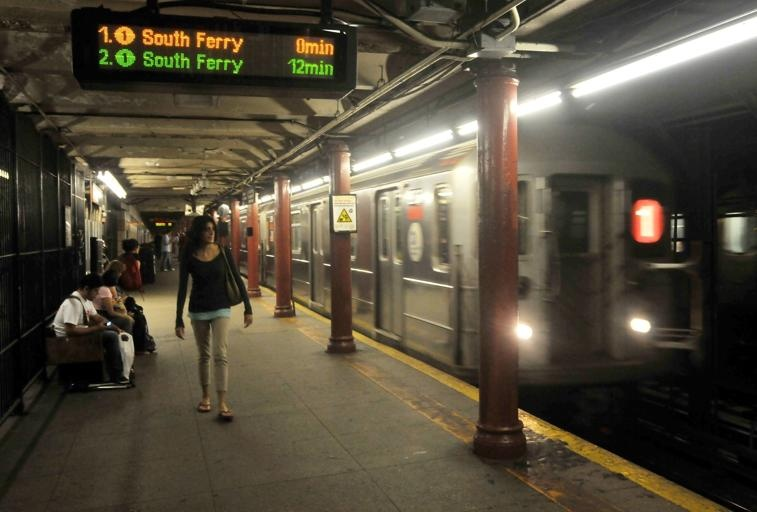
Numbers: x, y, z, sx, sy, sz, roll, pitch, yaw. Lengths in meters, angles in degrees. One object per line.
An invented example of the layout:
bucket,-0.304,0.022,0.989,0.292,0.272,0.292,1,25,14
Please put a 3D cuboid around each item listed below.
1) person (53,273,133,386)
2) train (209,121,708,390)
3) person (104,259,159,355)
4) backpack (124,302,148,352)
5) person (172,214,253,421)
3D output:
person,-3.777,0.971,7.667,0.923,1.511,0.491,-3,9,-23
train,1.099,-0.063,8.482,1.666,3.486,5.963,-7,11,-41
person,-4.048,0.854,9.391,0.848,1.527,0.643,3,15,-20
backpack,-4.012,1.120,9.491,0.281,0.769,0.438,-22,-18,34
person,-1.899,0.683,6.617,0.782,2.278,0.538,2,8,8
